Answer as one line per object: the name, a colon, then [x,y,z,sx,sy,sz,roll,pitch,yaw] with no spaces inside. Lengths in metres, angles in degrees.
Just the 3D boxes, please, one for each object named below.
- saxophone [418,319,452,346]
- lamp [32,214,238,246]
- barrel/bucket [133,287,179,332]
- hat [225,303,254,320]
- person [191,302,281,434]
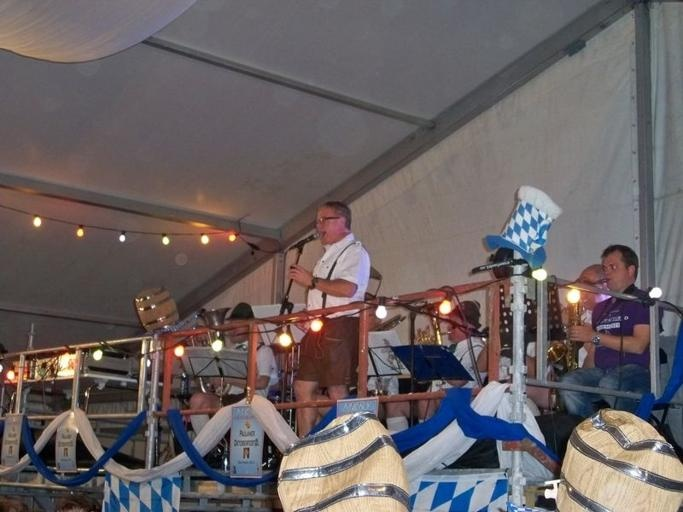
saxophone: [1.000,0.811,8.263,0.211,0.223,0.390,1,-14,3]
lamp: [-3.251,-0.390,12.737,3.304,0.338,0.817,-1,-13,-15]
barrel/bucket: [-1.959,0.572,8.316,0.414,0.437,0.398,-16,-2,-1]
hat: [-1.196,0.659,8.986,0.256,0.194,0.435,-4,2,21]
person: [-1.234,1.487,8.683,1.001,1.928,0.859,5,-13,-27]
